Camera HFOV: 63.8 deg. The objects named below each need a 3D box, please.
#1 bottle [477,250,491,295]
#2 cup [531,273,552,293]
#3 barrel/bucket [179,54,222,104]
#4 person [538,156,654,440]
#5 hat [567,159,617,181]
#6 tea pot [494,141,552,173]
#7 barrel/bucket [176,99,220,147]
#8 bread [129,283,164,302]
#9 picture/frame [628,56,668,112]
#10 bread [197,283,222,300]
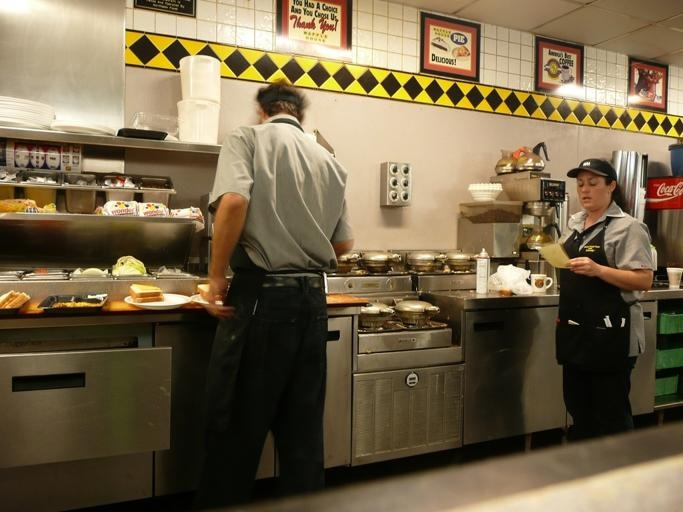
[{"bbox_3d":[1.086,0.105,4.022,0.082,0.306,0.082,1,-3,0],"label":"bottle"},{"bbox_3d":[1.543,0.217,4.217,0.188,0.128,0.114,1,-1,-17],"label":"cup"},{"bbox_3d":[-0.969,-1.218,3.822,0.313,0.240,0.284,-1,4,-20],"label":"barrel/bucket"},{"bbox_3d":[1.581,0.281,3.365,0.563,1.716,0.543,5,16,31],"label":"person"},{"bbox_3d":[1.535,-0.511,3.335,0.235,0.118,0.174,7,3,-10],"label":"hat"},{"bbox_3d":[1.646,-0.856,4.906,0.462,0.291,0.330,1,2,5],"label":"tea pot"},{"bbox_3d":[-1.009,-0.941,3.884,0.358,0.284,0.335,1,4,0],"label":"barrel/bucket"},{"bbox_3d":[-1.065,0.200,3.002,0.116,0.039,0.114,1,11,-40],"label":"bread"},{"bbox_3d":[3.379,-1.914,6.041,0.522,0.563,0.040,-13,6,-31],"label":"picture/frame"},{"bbox_3d":[-0.682,0.184,2.843,0.103,0.027,0.110,7,2,-29],"label":"bread"}]
